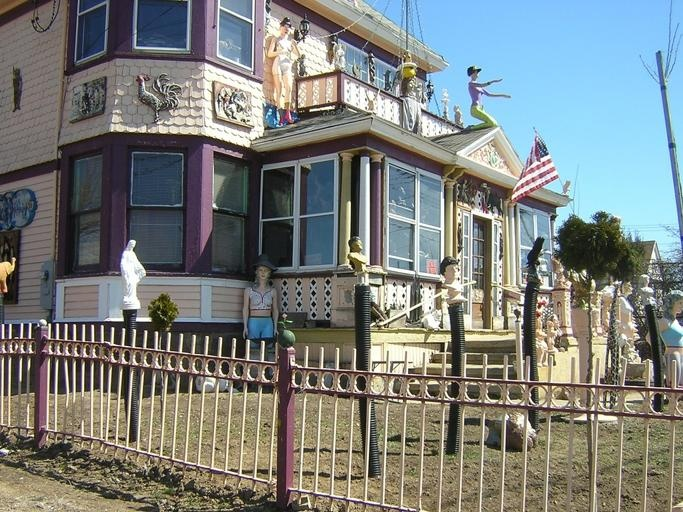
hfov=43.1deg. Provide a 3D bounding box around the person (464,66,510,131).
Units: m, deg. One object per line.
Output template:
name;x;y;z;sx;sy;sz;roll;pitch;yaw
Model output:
person;3.788;-4.225;22.942;1.046;1.785;0.857;-2;-4;30

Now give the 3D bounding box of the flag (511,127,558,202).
flag;3.559;-1.662;16.130;0.791;1.292;0.431;6;-11;-30

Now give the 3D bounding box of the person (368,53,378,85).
person;0.818;-5.133;23.917;0.235;1.002;0.716;0;-9;3

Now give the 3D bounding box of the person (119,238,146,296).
person;-3.406;0.196;14.090;0.359;0.963;0.810;3;-10;-14

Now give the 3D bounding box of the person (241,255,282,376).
person;-1.664;1.052;17.874;0.727;2.181;1.064;2;-9;-5

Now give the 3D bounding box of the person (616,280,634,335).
person;6.028;1.155;18.362;0.308;1.277;3.708;-2;-10;18
